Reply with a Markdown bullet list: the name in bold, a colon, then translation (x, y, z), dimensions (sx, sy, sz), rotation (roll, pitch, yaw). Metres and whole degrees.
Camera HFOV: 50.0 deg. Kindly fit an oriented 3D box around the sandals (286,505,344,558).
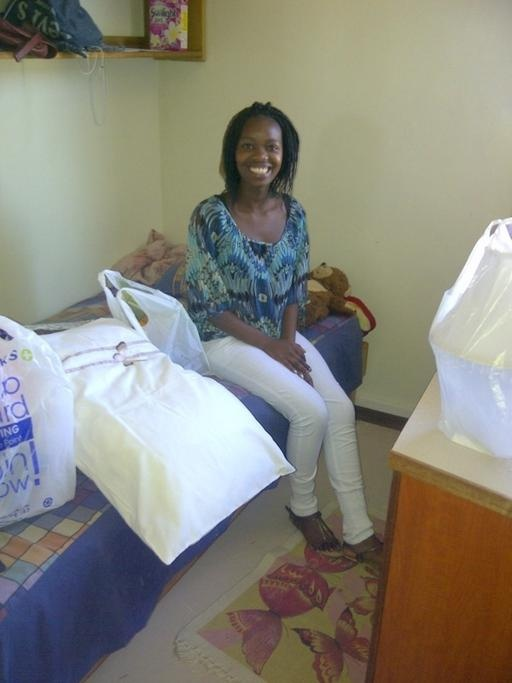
- **sandals**: translation (0.168, 0.533, 1.612), dimensions (0.067, 0.072, 0.180), rotation (-29, 43, -26)
